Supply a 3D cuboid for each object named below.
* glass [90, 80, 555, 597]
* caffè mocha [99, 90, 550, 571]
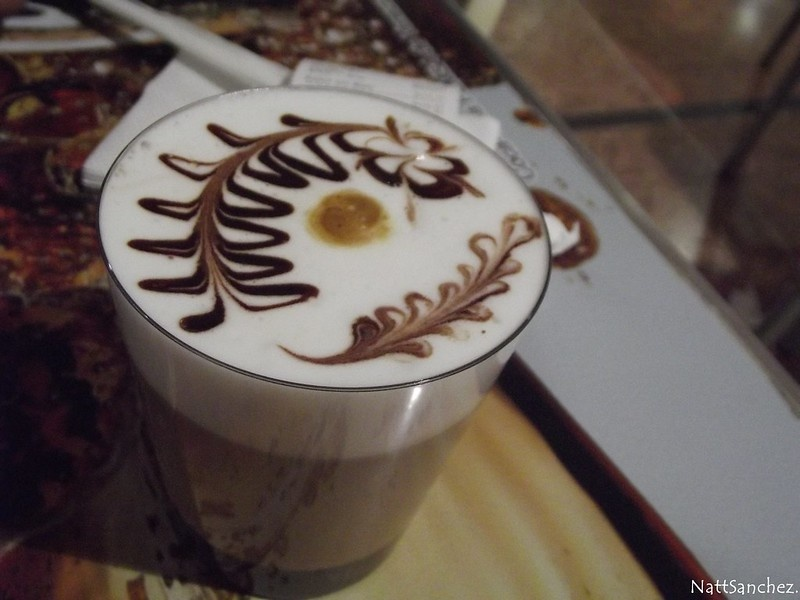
[{"bbox_3d":[-0.070,0.033,0.980,0.426,0.421,0.511,8,46,-2],"label":"glass"},{"bbox_3d":[-0.108,0.057,0.921,0.427,0.378,0.487,12,39,-4],"label":"caffè mocha"}]
